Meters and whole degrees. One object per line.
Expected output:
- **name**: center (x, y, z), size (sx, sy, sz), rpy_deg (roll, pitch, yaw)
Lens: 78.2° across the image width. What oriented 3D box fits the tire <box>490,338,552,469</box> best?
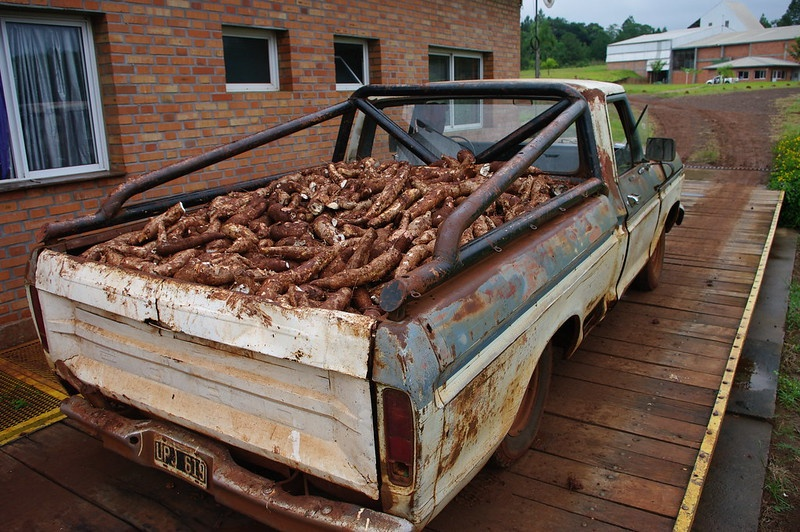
- **tire**: center (0.777, 0.939, 3.476), size (0.190, 0.735, 0.746), rpy_deg (19, 43, 8)
